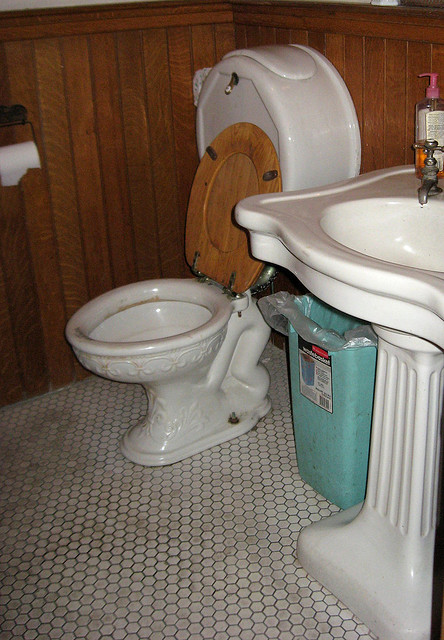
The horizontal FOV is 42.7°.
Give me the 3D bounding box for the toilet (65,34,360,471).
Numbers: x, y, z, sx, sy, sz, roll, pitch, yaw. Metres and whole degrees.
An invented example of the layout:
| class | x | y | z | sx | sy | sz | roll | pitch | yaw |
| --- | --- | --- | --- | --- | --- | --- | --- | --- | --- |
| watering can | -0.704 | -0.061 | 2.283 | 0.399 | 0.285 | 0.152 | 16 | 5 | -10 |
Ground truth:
| class | x | y | z | sx | sy | sz | roll | pitch | yaw |
| --- | --- | --- | --- | --- | --- | --- | --- | --- | --- |
| toilet | -0.076 | -0.164 | 1.420 | 0.706 | 0.999 | 0.576 | -16 | 28 | -27 |
